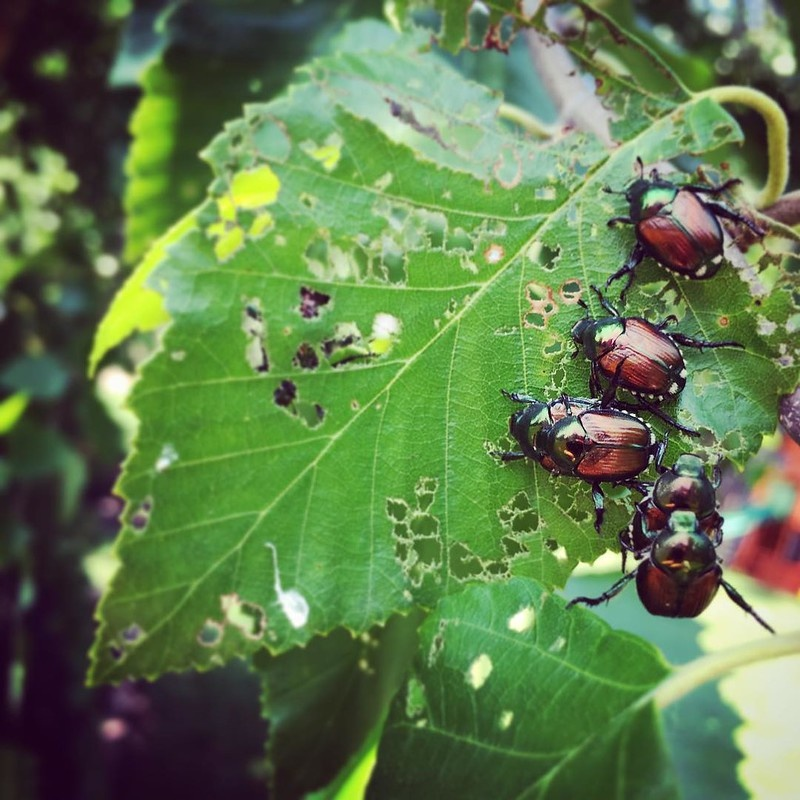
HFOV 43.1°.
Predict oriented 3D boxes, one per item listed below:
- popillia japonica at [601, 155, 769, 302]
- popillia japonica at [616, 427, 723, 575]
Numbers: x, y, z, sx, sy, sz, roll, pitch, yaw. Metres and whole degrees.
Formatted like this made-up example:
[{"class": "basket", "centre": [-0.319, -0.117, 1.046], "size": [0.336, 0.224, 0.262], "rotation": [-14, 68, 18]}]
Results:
[{"class": "popillia japonica", "centre": [0.613, -0.342, 2.175], "size": [0.299, 0.339, 0.101], "rotation": [46, -2, 17]}, {"class": "popillia japonica", "centre": [0.591, 0.220, 2.292], "size": [0.217, 0.278, 0.093], "rotation": [33, 8, -22]}]
